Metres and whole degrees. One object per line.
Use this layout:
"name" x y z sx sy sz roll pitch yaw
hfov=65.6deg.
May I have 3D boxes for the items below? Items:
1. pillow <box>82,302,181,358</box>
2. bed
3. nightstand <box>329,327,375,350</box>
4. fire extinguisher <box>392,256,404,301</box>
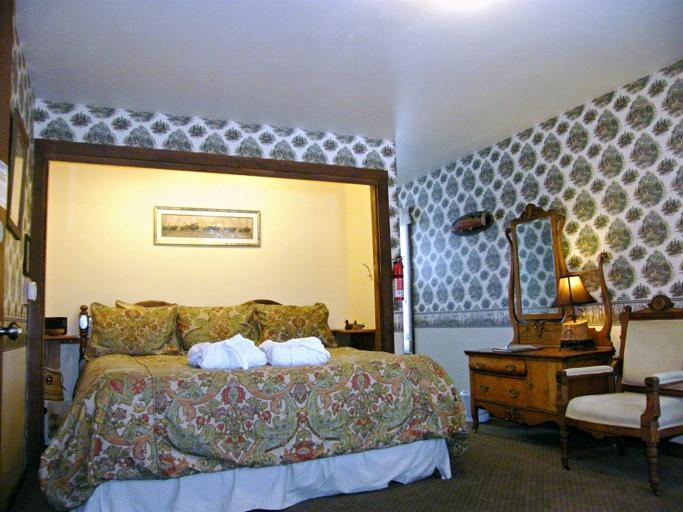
"pillow" -1.998 0.725 5.067 0.539 0.366 0.161 -1 -24 -11
"bed" -0.835 1.016 4.579 2.924 1.211 2.385 0 -3 -24
"nightstand" 0.163 0.985 6.271 0.259 0.368 0.368 1 0 26
"fire extinguisher" 0.622 0.253 5.866 0.104 0.506 0.075 -1 -3 -3
